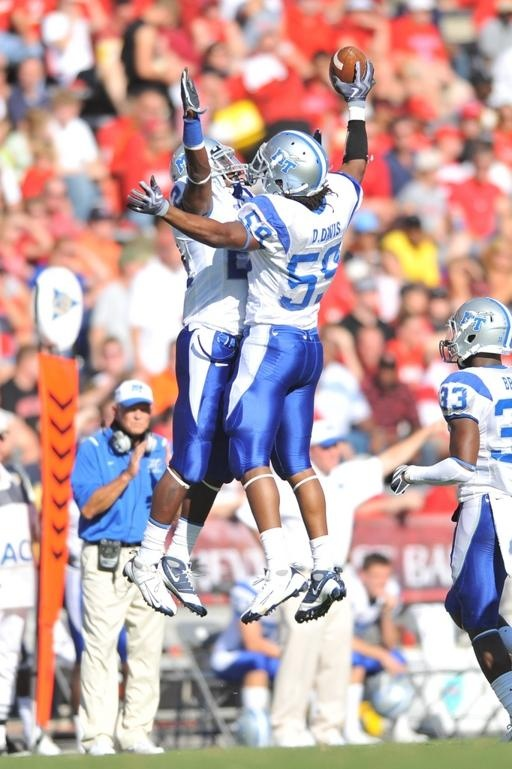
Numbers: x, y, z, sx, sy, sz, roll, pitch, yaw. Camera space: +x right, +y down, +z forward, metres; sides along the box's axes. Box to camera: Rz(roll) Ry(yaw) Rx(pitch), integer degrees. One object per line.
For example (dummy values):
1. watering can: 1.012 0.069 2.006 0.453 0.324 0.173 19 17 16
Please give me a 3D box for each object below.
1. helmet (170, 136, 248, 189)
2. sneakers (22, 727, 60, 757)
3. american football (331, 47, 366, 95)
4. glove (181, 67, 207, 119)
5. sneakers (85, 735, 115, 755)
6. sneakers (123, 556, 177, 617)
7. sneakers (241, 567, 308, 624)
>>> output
1. helmet: -0.206 -1.039 6.362 0.364 0.166 0.221 -3 5 23
2. sneakers: -1.200 2.021 7.712 0.177 0.137 0.624 9 -17 -7
3. american football: 0.483 -1.567 6.715 0.170 0.188 0.175 23 -17 -27
4. glove: -0.273 -1.205 5.710 0.090 0.237 0.116 -8 6 -3
5. sneakers: -0.780 1.822 6.886 0.139 0.094 0.260 10 -17 -10
6. sneakers: -0.488 0.925 6.264 0.283 0.262 0.189 6 -19 4
7. sneakers: 0.085 0.926 5.986 0.241 0.273 0.252 4 -19 11
